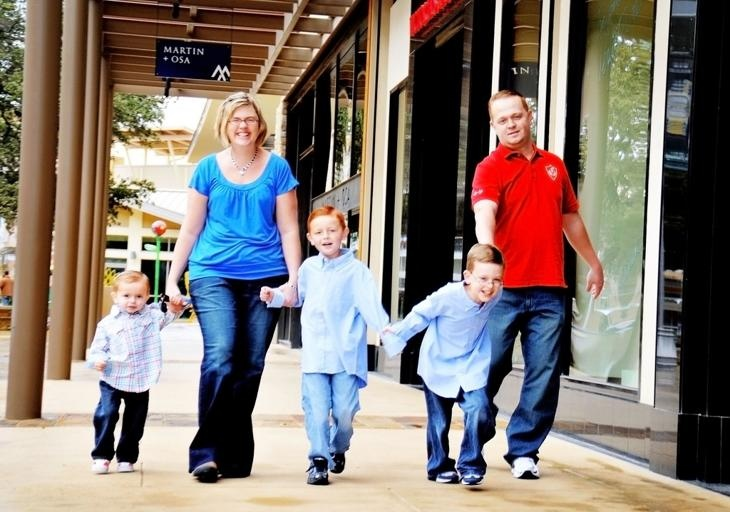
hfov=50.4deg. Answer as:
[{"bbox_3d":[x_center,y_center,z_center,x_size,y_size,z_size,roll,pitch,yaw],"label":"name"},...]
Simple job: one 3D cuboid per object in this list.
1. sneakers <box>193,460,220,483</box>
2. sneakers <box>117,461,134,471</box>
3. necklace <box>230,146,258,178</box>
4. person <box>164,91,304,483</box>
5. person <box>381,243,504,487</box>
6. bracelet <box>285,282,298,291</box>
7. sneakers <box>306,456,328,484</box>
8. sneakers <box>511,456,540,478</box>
[{"bbox_3d":[-0.996,1.322,4.796,0.181,0.125,0.143,3,1,10],"label":"sneakers"},{"bbox_3d":[-1.541,1.342,4.976,0.045,0.053,0.124,2,0,-1],"label":"sneakers"},{"bbox_3d":[-0.775,-0.590,4.924,0.189,0.205,0.015,5,-20,-8],"label":"necklace"},{"bbox_3d":[-0.803,0.202,4.857,0.769,2.253,0.313,3,0,-6],"label":"person"},{"bbox_3d":[0.507,0.682,4.837,0.636,1.489,0.463,3,0,8],"label":"person"},{"bbox_3d":[-0.466,0.192,4.888,0.067,0.029,0.050,4,6,-12],"label":"bracelet"},{"bbox_3d":[-0.295,1.330,4.871,0.143,0.172,0.181,3,1,-2],"label":"sneakers"},{"bbox_3d":[1.053,1.380,5.090,0.179,0.146,0.137,3,1,10],"label":"sneakers"}]
